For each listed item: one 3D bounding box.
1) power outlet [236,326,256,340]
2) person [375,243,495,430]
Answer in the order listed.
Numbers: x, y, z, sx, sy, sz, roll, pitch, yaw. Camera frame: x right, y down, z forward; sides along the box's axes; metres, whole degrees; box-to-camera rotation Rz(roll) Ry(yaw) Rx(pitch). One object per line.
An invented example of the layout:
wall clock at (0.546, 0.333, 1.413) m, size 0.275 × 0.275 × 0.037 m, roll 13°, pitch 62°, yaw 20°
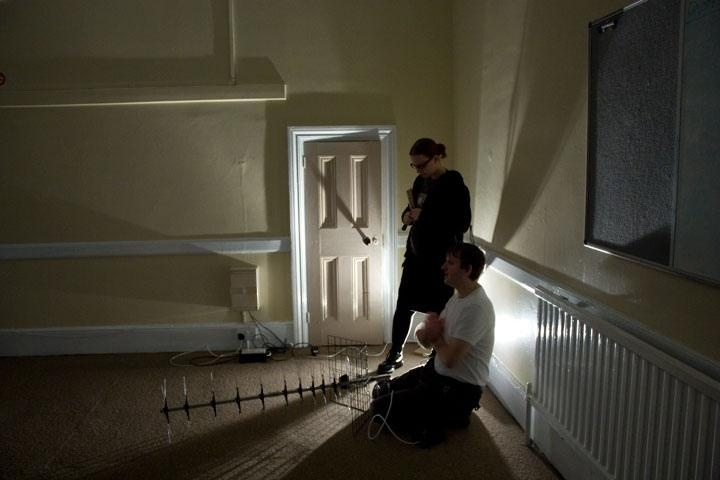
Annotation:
power outlet at (-1.139, 0.930, 5.382) m, size 0.210 × 0.140 × 0.026 m, roll -3°, pitch 5°, yaw -8°
person at (0.492, 0.673, 3.862) m, size 0.866 × 1.317 × 0.752 m, roll 4°, pitch 3°, yaw -14°
